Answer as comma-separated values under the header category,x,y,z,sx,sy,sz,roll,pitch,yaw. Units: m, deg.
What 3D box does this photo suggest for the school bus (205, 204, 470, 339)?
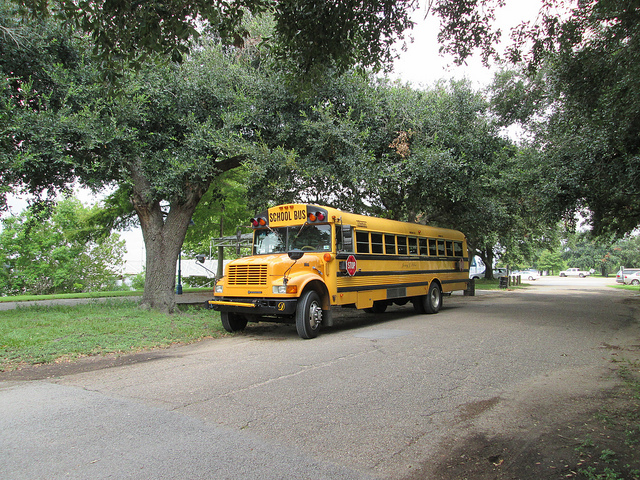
category,x,y,z,sx,sy,sz,roll,pitch,yaw
school bus,1.419,1.080,15.822,3.672,3.447,9.802,-8,-12,39

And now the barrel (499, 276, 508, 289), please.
category,x,y,z,sx,sy,sz,roll,pitch,yaw
barrel,13.781,3.175,34.570,0.448,0.832,0.992,0,5,0

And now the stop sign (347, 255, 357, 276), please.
category,x,y,z,sx,sy,sz,roll,pitch,yaw
stop sign,0.919,0.727,13.216,0.120,0.600,0.422,4,7,30

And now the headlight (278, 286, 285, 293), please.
category,x,y,z,sx,sy,sz,roll,pitch,yaw
headlight,-0.970,1.267,11.769,0.143,0.126,0.155,1,-8,-11

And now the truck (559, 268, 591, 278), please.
category,x,y,z,sx,sy,sz,roll,pitch,yaw
truck,48.815,6.238,87.458,3.808,1.273,1.374,1,-4,29

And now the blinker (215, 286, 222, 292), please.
category,x,y,z,sx,sy,sz,roll,pitch,yaw
blinker,-2.835,1.367,12.931,0.197,0.197,0.116,-1,2,13

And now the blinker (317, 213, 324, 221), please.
category,x,y,z,sx,sy,sz,roll,pitch,yaw
blinker,0.026,-0.676,12.935,0.160,0.186,0.041,1,3,19

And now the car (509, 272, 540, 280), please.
category,x,y,z,sx,sy,sz,roll,pitch,yaw
car,26.199,4.553,58.515,2.230,0.853,1.111,2,-6,2

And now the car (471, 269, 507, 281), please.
category,x,y,z,sx,sy,sz,roll,pitch,yaw
car,18.922,3.874,51.537,2.248,0.964,1.085,0,-7,10
